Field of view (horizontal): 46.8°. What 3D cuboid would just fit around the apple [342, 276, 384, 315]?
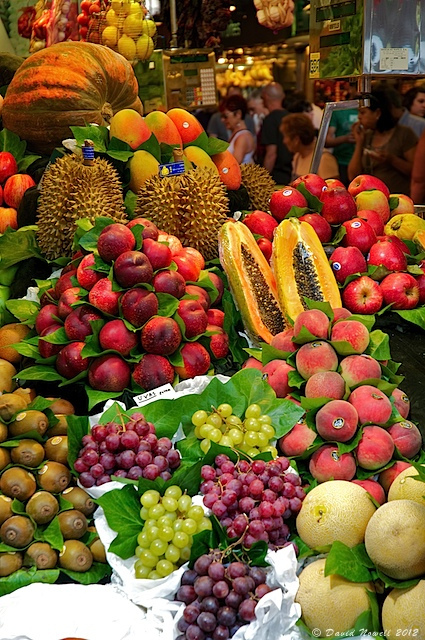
[{"bbox_3d":[0.484,-0.078,1.635,0.124,0.120,0.132,-5,3,2],"label":"apple"}]

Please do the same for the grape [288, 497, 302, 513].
[{"bbox_3d":[0.170,0.383,1.008,0.033,0.037,0.030,0,7,4],"label":"grape"}]

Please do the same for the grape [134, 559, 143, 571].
[{"bbox_3d":[-0.146,0.482,0.959,0.015,0.014,0.019,32,-14,-35],"label":"grape"}]

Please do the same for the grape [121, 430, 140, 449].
[{"bbox_3d":[-0.179,0.263,1.070,0.037,0.042,0.037,-6,29,1],"label":"grape"}]

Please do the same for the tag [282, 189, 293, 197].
[{"bbox_3d":[0.279,-0.471,1.821,0.037,0.025,0.029,0,19,10],"label":"tag"}]

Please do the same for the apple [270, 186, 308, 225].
[{"bbox_3d":[0.293,-0.429,1.857,0.120,0.134,0.152,-6,19,-8],"label":"apple"}]

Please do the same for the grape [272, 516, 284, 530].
[{"bbox_3d":[0.129,0.399,0.958,0.027,0.031,0.027,1,9,2],"label":"grape"}]

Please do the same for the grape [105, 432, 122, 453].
[{"bbox_3d":[-0.216,0.272,1.073,0.039,0.046,0.038,-3,15,-4],"label":"grape"}]

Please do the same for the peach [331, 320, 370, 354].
[{"bbox_3d":[0.367,0.047,1.318,0.086,0.081,0.145,11,23,36],"label":"peach"}]

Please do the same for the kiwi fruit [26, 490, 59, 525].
[{"bbox_3d":[-0.374,0.420,1.082,0.052,0.060,0.058,11,24,37],"label":"kiwi fruit"}]

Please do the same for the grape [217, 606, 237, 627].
[{"bbox_3d":[0.023,0.494,0.817,0.029,0.033,0.029,0,-20,-2],"label":"grape"}]

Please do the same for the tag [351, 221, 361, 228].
[{"bbox_3d":[0.499,-0.336,1.735,0.025,0.006,0.024,-5,44,25],"label":"tag"}]

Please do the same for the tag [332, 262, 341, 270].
[{"bbox_3d":[0.410,-0.176,1.615,0.022,0.022,0.011,38,33,27],"label":"tag"}]

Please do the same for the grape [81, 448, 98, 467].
[{"bbox_3d":[-0.267,0.304,1.072,0.033,0.040,0.036,-4,-15,-1],"label":"grape"}]

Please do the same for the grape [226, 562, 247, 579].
[{"bbox_3d":[0.040,0.439,0.853,0.031,0.031,0.032,1,19,13],"label":"grape"}]

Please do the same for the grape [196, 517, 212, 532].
[{"bbox_3d":[-0.016,0.397,0.946,0.022,0.025,0.022,-12,41,-11],"label":"grape"}]

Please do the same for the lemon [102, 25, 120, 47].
[{"bbox_3d":[-0.503,-1.418,2.443,0.079,0.091,0.077,2,38,-4],"label":"lemon"}]

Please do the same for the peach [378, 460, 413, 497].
[{"bbox_3d":[0.409,0.360,1.129,0.075,0.087,0.074,4,13,-7],"label":"peach"}]

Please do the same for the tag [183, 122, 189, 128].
[{"bbox_3d":[-0.110,-0.818,2.054,0.026,0.021,0.010,-7,19,-9],"label":"tag"}]

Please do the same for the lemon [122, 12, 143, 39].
[{"bbox_3d":[-0.389,-1.457,2.417,0.095,0.109,0.092,1,44,-8],"label":"lemon"}]

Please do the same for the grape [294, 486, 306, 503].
[{"bbox_3d":[0.183,0.366,1.033,0.031,0.035,0.031,0,6,2],"label":"grape"}]

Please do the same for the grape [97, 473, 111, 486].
[{"bbox_3d":[-0.238,0.352,1.075,0.026,0.030,0.025,1,17,2],"label":"grape"}]

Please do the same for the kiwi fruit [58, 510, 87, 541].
[{"bbox_3d":[-0.305,0.449,1.070,0.059,0.068,0.058,3,11,5],"label":"kiwi fruit"}]

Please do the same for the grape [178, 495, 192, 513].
[{"bbox_3d":[-0.053,0.366,0.970,0.022,0.029,0.022,-3,53,7],"label":"grape"}]

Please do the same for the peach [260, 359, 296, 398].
[{"bbox_3d":[0.184,0.156,1.349,0.073,0.074,0.134,-6,19,-8],"label":"peach"}]

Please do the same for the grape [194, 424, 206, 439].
[{"bbox_3d":[-0.033,0.268,1.168,0.029,0.028,0.033,-1,46,-5],"label":"grape"}]

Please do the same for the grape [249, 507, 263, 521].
[{"bbox_3d":[0.083,0.372,0.933,0.020,0.023,0.019,1,4,1],"label":"grape"}]

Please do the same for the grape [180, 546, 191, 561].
[{"bbox_3d":[-0.053,0.454,0.944,0.020,0.041,0.015,-5,19,-3],"label":"grape"}]

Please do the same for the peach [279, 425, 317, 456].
[{"bbox_3d":[0.203,0.290,1.173,0.077,0.077,0.079,1,-5,-33],"label":"peach"}]

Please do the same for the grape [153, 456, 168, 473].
[{"bbox_3d":[-0.111,0.314,1.058,0.028,0.033,0.029,0,1,-5],"label":"grape"}]

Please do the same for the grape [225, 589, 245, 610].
[{"bbox_3d":[0.036,0.475,0.830,0.031,0.035,0.030,0,20,-3],"label":"grape"}]

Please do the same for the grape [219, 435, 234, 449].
[{"bbox_3d":[0.033,0.272,1.084,0.021,0.027,0.020,6,-31,-21],"label":"grape"}]

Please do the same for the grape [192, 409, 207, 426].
[{"bbox_3d":[-0.030,0.236,1.152,0.034,0.034,0.026,2,20,15],"label":"grape"}]

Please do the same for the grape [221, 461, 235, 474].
[{"bbox_3d":[0.032,0.311,1.024,0.022,0.022,0.026,20,43,-6],"label":"grape"}]

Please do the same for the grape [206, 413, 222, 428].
[{"bbox_3d":[0.006,0.234,1.131,0.031,0.035,0.030,5,46,-13],"label":"grape"}]

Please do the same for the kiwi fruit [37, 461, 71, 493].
[{"bbox_3d":[-0.369,0.369,1.137,0.063,0.054,0.056,4,20,21],"label":"kiwi fruit"}]

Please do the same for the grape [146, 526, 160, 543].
[{"bbox_3d":[-0.113,0.409,0.936,0.025,0.030,0.025,3,7,-2],"label":"grape"}]

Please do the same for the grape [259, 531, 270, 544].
[{"bbox_3d":[0.097,0.409,0.916,0.017,0.017,0.022,-1,-1,0],"label":"grape"}]

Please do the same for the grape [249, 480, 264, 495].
[{"bbox_3d":[0.088,0.333,0.971,0.025,0.029,0.024,1,7,7],"label":"grape"}]

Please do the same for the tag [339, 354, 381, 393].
[{"bbox_3d":[0.359,0.140,1.252,0.091,0.105,0.091,5,-20,-2],"label":"tag"}]

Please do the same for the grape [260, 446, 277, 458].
[{"bbox_3d":[0.133,0.307,1.134,0.027,0.025,0.026,-1,2,-8],"label":"grape"}]

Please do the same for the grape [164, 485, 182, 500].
[{"bbox_3d":[-0.079,0.352,0.997,0.026,0.020,0.020,8,22,27],"label":"grape"}]

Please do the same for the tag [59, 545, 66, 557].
[{"bbox_3d":[-0.314,0.491,1.036,0.007,0.018,0.018,24,-21,3],"label":"tag"}]

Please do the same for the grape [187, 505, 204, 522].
[{"bbox_3d":[-0.032,0.375,0.945,0.026,0.030,0.026,2,11,3],"label":"grape"}]

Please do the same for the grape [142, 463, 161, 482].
[{"bbox_3d":[-0.128,0.322,1.031,0.029,0.033,0.030,27,24,25],"label":"grape"}]

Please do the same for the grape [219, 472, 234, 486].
[{"bbox_3d":[0.027,0.324,0.998,0.020,0.020,0.023,-40,10,31],"label":"grape"}]

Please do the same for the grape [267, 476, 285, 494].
[{"bbox_3d":[0.128,0.332,0.983,0.031,0.036,0.032,2,4,2],"label":"grape"}]

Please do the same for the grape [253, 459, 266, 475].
[{"bbox_3d":[0.097,0.308,1.016,0.027,0.031,0.027,1,11,4],"label":"grape"}]

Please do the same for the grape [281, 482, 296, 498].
[{"bbox_3d":[0.155,0.350,0.998,0.028,0.033,0.029,4,6,10],"label":"grape"}]

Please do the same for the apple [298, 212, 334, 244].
[{"bbox_3d":[0.374,-0.323,1.775,0.125,0.144,0.124,-5,-9,13],"label":"apple"}]

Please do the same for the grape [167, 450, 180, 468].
[{"bbox_3d":[-0.089,0.315,1.103,0.037,0.047,0.030,5,21,4],"label":"grape"}]
